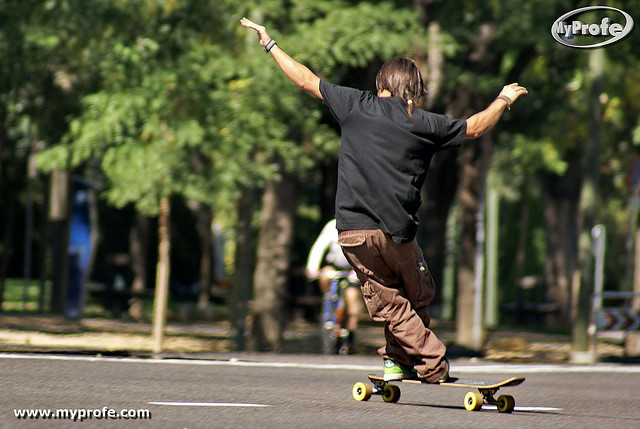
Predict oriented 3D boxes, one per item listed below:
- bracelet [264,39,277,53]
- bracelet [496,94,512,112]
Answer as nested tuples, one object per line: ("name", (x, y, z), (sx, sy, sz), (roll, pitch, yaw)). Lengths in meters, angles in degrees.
("bracelet", (-0.568, -1.939, 17.164), (0.047, 0.129, 0.104), (33, 3, -8))
("bracelet", (2.054, -1.281, 17.069), (0.169, 0.134, 0.179), (5, -4, 22))
